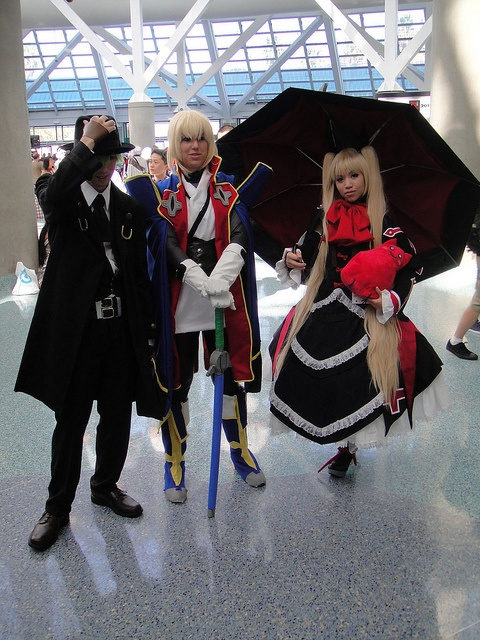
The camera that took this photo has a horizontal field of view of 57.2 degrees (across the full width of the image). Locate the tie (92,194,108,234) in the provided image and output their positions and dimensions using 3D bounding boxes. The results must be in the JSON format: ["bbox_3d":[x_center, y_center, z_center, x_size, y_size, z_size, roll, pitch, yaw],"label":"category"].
[{"bbox_3d":[-0.425,-0.318,1.345,0.030,0.130,0.034,-3,-4,-8],"label":"tie"}]

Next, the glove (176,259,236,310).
[{"bbox_3d":[-0.111,-0.123,1.450,0.116,0.064,0.174,37,0,-45],"label":"glove"}]

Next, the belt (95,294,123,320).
[{"bbox_3d":[-0.421,-0.051,1.426,0.078,0.089,0.057,-3,47,-28],"label":"belt"}]

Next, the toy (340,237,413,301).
[{"bbox_3d":[0.509,-0.195,1.662,0.240,0.164,0.087,-38,0,-23],"label":"toy"}]

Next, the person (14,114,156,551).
[{"bbox_3d":[-0.490,0.064,1.422,0.336,1.328,0.352,2,7,24],"label":"person"}]

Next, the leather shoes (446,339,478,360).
[{"bbox_3d":[1.562,0.232,3.164,0.233,0.098,0.091,27,20,28],"label":"leather shoes"}]

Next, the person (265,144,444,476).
[{"bbox_3d":[0.424,-0.089,1.720,0.722,1.158,0.419,3,8,27],"label":"person"}]

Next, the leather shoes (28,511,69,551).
[{"bbox_3d":[-0.634,0.698,1.471,0.051,0.067,0.154,22,-5,0],"label":"leather shoes"}]
